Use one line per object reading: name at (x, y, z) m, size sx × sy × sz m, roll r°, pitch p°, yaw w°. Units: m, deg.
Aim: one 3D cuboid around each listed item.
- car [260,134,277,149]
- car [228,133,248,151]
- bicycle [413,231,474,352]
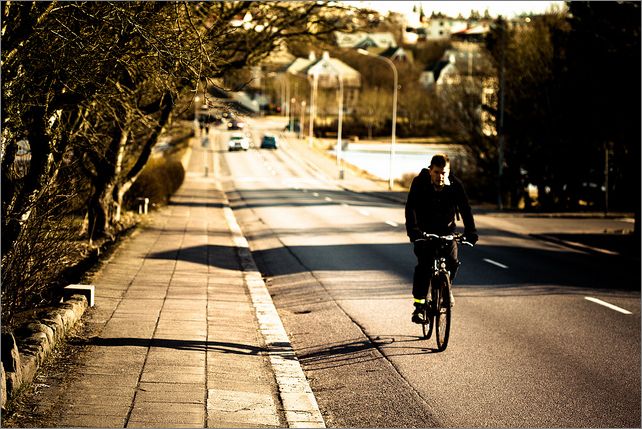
car at (-5.652, -7.814, 77.248) m, size 2.180 × 1.480 × 1.184 m, roll 11°, pitch 12°, yaw 42°
car at (-8.666, -7.464, 74.559) m, size 1.916 × 1.563 × 3.320 m, roll 2°, pitch 10°, yaw -8°
bicycle at (1.776, 1.144, 10.782) m, size 0.577 × 1.757 × 0.770 m, roll 4°, pitch 8°, yaw 12°
